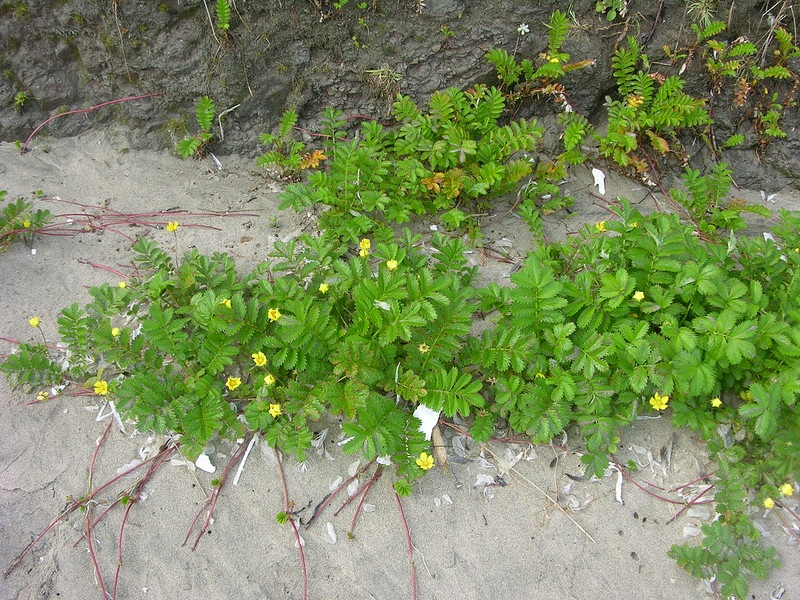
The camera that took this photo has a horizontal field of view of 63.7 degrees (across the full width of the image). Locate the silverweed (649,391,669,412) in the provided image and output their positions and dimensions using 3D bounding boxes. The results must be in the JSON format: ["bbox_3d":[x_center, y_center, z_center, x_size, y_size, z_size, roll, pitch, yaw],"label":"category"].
[{"bbox_3d":[1.935,0.760,4.827,0.146,0.070,0.180,-6,62,8],"label":"silverweed"}]

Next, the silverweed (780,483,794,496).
[{"bbox_3d":[2.789,1.361,4.636,0.096,0.109,0.050,-1,64,-11],"label":"silverweed"}]

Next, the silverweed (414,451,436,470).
[{"bbox_3d":[0.182,1.134,4.649,0.121,0.050,0.147,-22,79,14],"label":"silverweed"}]

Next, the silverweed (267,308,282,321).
[{"bbox_3d":[-0.930,0.118,4.739,0.088,0.039,0.090,42,68,17],"label":"silverweed"}]

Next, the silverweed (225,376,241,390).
[{"bbox_3d":[-1.257,0.620,4.818,0.053,0.129,0.110,-7,2,45],"label":"silverweed"}]
